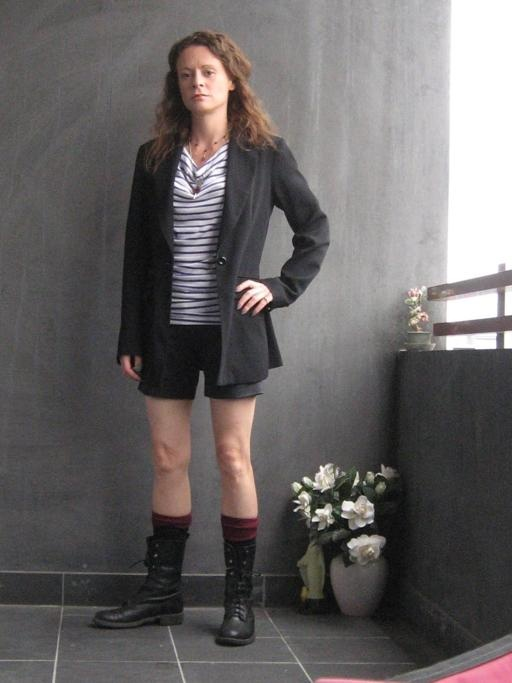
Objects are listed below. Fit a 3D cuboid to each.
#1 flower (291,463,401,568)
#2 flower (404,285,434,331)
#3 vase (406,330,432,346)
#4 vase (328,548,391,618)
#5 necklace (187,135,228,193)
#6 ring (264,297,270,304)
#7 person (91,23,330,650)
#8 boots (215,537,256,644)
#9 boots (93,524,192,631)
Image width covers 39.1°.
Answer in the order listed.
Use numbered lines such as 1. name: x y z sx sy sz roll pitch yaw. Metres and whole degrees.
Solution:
1. flower: 0.255 0.491 2.056 0.298 0.262 0.280 -1 -10 5
2. flower: 0.489 -0.099 2.179 0.078 0.101 0.091 2 -1 11
3. vase: 0.483 -0.006 2.116 0.056 0.031 0.052 0 -3 -3
4. vase: 0.278 0.675 2.050 0.191 0.179 0.175 1 -4 -6
5. necklace: -0.125 -0.447 1.866 0.094 0.111 0.063 2 -1 -2
6. ring: 0.027 -0.103 1.830 0.018 0.014 0.006 3 -1 -31
7. person: -0.116 -0.014 1.915 0.520 1.347 0.273 2 -1 24
8. boots: -0.048 0.648 1.877 0.099 0.217 0.201 3 -1 0
9. boots: -0.318 0.651 1.957 0.278 0.242 0.114 10 -19 -33
